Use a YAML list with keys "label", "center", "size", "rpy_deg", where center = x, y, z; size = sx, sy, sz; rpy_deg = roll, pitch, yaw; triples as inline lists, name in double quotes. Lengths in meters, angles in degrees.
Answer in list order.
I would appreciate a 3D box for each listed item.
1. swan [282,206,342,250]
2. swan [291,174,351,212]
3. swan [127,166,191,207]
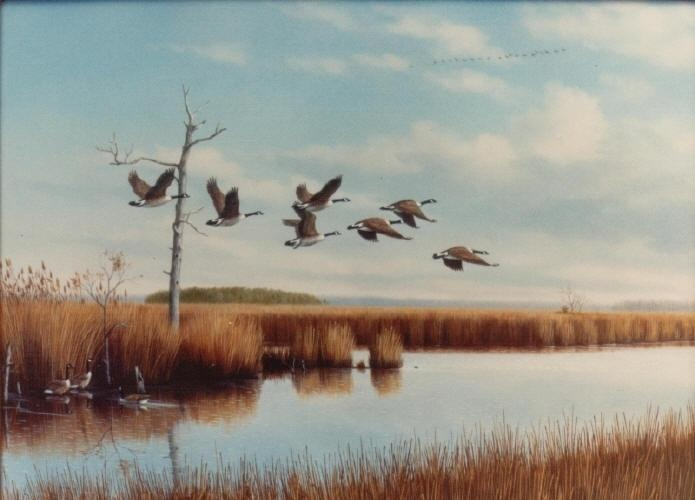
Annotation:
- label: "swan"
  center: [-0.472, -0.253, 19.772]
  size: [0.777, 0.457, 1.041]
  rpy_deg: [1, -23, 12]
- label: "swan"
  center: [-0.369, -0.791, 19.506]
  size: [0.546, 0.504, 0.708]
  rpy_deg: [-11, 13, -29]
- label: "swan"
  center: [-2.696, -0.821, 19.990]
  size: [0.919, 0.451, 1.343]
  rpy_deg: [6, -11, -19]
